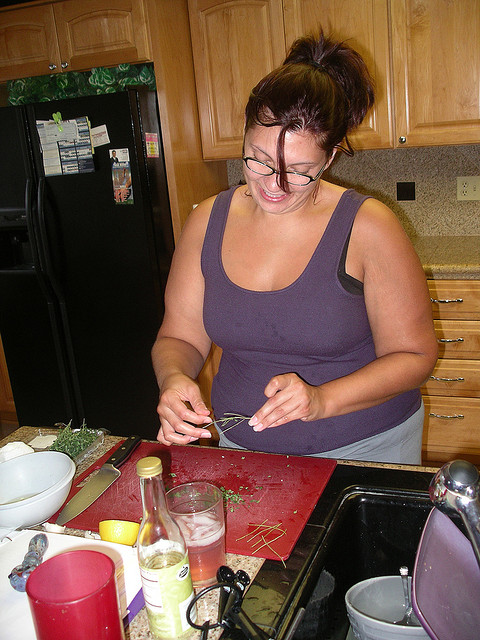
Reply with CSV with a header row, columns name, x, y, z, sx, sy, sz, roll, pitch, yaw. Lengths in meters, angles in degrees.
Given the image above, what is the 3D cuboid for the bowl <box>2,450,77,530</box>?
name,x,y,z,sx,sy,sz,roll,pitch,yaw
bowl,-0.308,0.250,0.729,0.099,0.047,0.100,1,11,0

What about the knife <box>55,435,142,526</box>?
name,x,y,z,sx,sy,sz,roll,pitch,yaw
knife,-0.237,0.265,0.839,0.045,0.029,0.253,2,11,13

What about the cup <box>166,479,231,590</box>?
name,x,y,z,sx,sy,sz,roll,pitch,yaw
cup,-0.044,0.266,0.577,0.051,0.080,0.051,-4,-2,0

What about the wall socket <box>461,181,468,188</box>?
name,x,y,z,sx,sy,sz,roll,pitch,yaw
wall socket,1.162,-0.698,2.522,0.030,0.031,0.007,0,2,21

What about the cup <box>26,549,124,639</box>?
name,x,y,z,sx,sy,sz,roll,pitch,yaw
cup,-0.140,0.246,0.411,0.072,0.078,0.060,-3,11,-15
